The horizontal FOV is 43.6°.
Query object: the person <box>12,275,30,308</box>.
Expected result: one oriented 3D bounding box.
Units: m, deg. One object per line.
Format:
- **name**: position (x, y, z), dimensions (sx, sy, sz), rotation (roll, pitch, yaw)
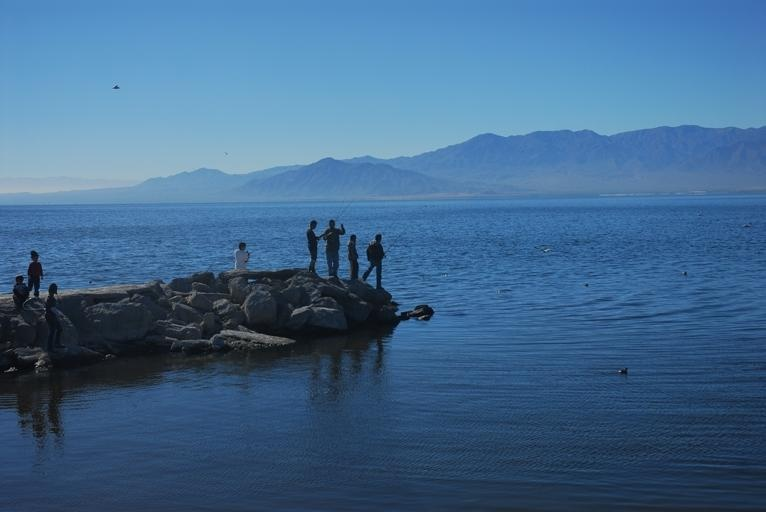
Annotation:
- **person**: position (-13.112, 1.225, 34.721), dimensions (0.560, 1.142, 1.068), rotation (-7, 13, -19)
